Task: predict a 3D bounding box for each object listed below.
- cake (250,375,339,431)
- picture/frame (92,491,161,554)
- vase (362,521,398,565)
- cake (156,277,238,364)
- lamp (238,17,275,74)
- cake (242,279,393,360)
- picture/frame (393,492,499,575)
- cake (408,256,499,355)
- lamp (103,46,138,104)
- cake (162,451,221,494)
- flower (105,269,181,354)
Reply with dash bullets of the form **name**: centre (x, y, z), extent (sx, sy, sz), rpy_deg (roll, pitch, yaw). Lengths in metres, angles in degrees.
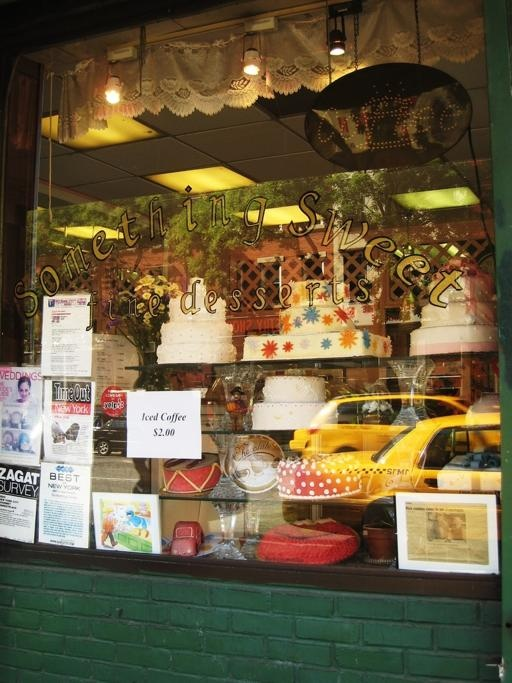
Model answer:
- **cake**: centre (0.132, 0.244, 2.572), extent (0.259, 0.144, 0.242), rpy_deg (0, -3, -3)
- **picture/frame**: centre (-0.543, 0.777, 2.745), extent (0.290, 0.189, 0.017), rpy_deg (-4, -13, 20)
- **vase**: centre (0.456, 0.750, 2.371), extent (0.134, 0.093, 0.124), rpy_deg (1, -18, 3)
- **cake**: centre (-0.207, -0.074, 2.962), extent (0.398, 0.378, 0.392), rpy_deg (-1, -8, 8)
- **lamp**: centre (0.006, -1.281, 2.811), extent (0.170, 0.237, 0.056), rpy_deg (-4, -9, 28)
- **cake**: centre (0.256, -0.053, 2.599), extent (0.511, 0.262, 0.356), rpy_deg (-1, -4, 20)
- **picture/frame**: centre (0.683, 0.682, 2.271), extent (0.330, 0.246, 0.011), rpy_deg (-2, -10, 24)
- **cake**: centre (0.761, -0.118, 2.405), extent (0.357, 0.341, 0.342), rpy_deg (-1, -4, 26)
- **lamp**: centre (-0.646, -1.249, 3.043), extent (0.092, 0.252, 0.189), rpy_deg (7, -10, -38)
- **cake**: centre (-0.271, 0.534, 2.721), extent (0.207, 0.074, 0.208), rpy_deg (-3, -5, 37)
- **flower**: centre (-0.471, -0.119, 3.151), extent (0.393, 0.435, 0.407), rpy_deg (-3, -15, 3)
